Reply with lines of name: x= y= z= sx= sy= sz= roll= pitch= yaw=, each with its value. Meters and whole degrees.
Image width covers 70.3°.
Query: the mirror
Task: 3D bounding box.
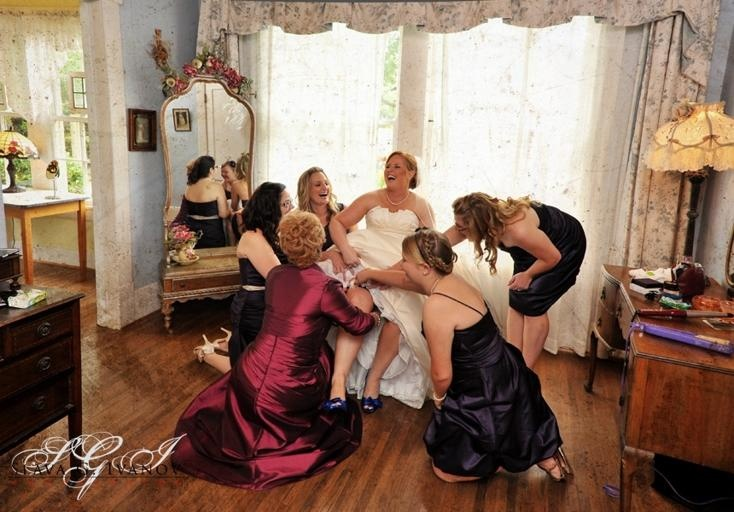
mirror: x=-1.354 y=-0.500 z=4.609 sx=0.862 sy=2.150 sz=0.610 roll=-4 pitch=20 yaw=-25

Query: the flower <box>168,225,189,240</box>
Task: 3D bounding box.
flower: x=-1.647 y=-0.205 z=4.600 sx=0.139 sy=0.086 sz=0.140 roll=8 pitch=13 yaw=-18

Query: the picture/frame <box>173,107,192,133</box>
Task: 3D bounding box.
picture/frame: x=-1.612 y=-1.199 z=4.558 sx=0.025 sy=0.264 sz=0.194 roll=9 pitch=15 yaw=43

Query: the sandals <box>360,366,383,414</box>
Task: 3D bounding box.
sandals: x=0.036 y=0.948 z=3.643 sx=0.112 sy=0.302 sz=0.072 roll=3 pitch=-20 yaw=5

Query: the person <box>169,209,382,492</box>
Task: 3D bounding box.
person: x=-0.498 y=0.483 z=3.213 sx=1.403 sy=1.419 sz=1.011 roll=-9 pitch=20 yaw=-30

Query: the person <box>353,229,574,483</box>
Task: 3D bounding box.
person: x=0.634 y=0.626 z=3.187 sx=1.005 sy=1.595 sz=0.658 roll=5 pitch=25 yaw=41

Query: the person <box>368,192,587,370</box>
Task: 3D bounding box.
person: x=0.911 y=0.194 z=3.730 sx=1.121 sy=1.426 sz=0.585 roll=-9 pitch=23 yaw=9

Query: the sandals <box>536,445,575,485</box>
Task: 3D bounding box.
sandals: x=1.125 y=1.248 z=3.134 sx=0.260 sy=0.154 sz=0.069 roll=47 pitch=17 yaw=9

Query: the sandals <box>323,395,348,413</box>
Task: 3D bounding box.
sandals: x=-0.211 y=0.952 z=3.333 sx=0.103 sy=0.039 sz=0.094 roll=7 pitch=44 yaw=6

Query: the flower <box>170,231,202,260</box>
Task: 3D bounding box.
flower: x=-1.601 y=-0.093 z=4.573 sx=0.260 sy=0.277 sz=0.201 roll=-2 pitch=3 yaw=18

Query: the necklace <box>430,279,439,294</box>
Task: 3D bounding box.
necklace: x=0.389 y=0.180 z=3.016 sx=0.017 sy=0.069 sz=0.071 roll=22 pitch=14 yaw=14
